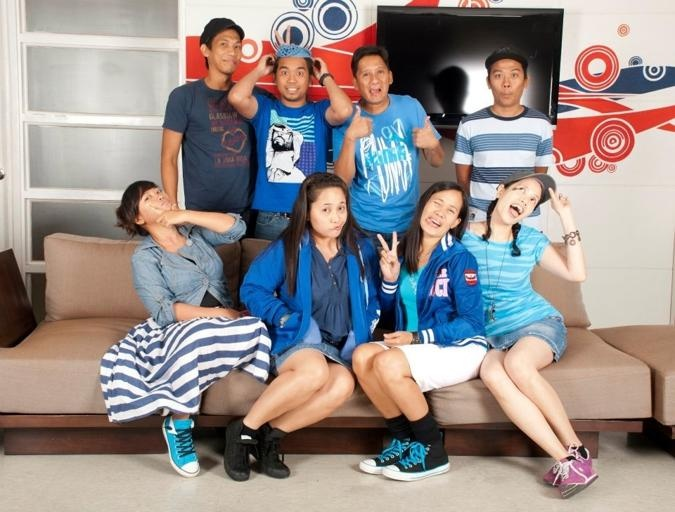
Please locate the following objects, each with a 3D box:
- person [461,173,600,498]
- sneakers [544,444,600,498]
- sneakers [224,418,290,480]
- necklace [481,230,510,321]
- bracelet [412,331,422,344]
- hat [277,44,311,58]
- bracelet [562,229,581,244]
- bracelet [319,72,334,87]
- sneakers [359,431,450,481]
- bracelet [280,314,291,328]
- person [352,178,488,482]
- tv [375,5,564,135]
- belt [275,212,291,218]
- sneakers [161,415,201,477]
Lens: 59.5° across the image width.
[{"bbox_3d":[0.669,0.324,2.724,0.646,0.829,1.282,-3,50,13],"label":"person"},{"bbox_3d":[0.971,0.893,2.445,0.196,0.194,0.126,2,13,8],"label":"sneakers"},{"bbox_3d":[-0.349,0.838,2.552,0.221,0.155,0.304,6,37,-45],"label":"sneakers"},{"bbox_3d":[0.722,0.126,2.730,0.182,0.327,0.076,4,-2,-1],"label":"necklace"},{"bbox_3d":[0.356,0.362,2.628,0.036,0.027,0.048,0,41,5],"label":"bracelet"},{"bbox_3d":[-0.242,-1.119,3.226,0.155,0.083,0.155,-7,15,-29],"label":"hat"},{"bbox_3d":[1.086,-0.093,2.738,0.064,0.035,0.078,-10,7,19],"label":"bracelet"},{"bbox_3d":[-0.068,-0.974,3.243,0.062,0.046,0.083,0,29,5],"label":"bracelet"},{"bbox_3d":[0.307,0.870,2.548,0.301,0.146,0.207,0,-4,-3],"label":"sneakers"},{"bbox_3d":[-0.236,0.288,2.655,0.055,0.040,0.047,-1,0,-9],"label":"bracelet"},{"bbox_3d":[0.367,0.311,2.642,0.621,1.238,0.495,-1,13,-7],"label":"person"},{"bbox_3d":[0.792,-1.156,3.592,0.950,0.655,0.091,1,5,1],"label":"tv"},{"bbox_3d":[-0.292,-0.229,3.251,0.053,0.027,0.071,0,13,-18],"label":"belt"},{"bbox_3d":[-0.694,0.822,2.634,0.151,0.256,0.235,-4,14,-17],"label":"sneakers"}]
